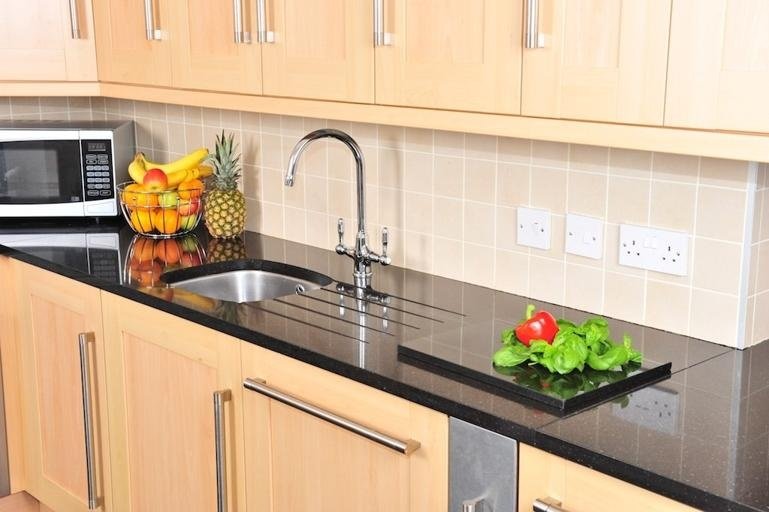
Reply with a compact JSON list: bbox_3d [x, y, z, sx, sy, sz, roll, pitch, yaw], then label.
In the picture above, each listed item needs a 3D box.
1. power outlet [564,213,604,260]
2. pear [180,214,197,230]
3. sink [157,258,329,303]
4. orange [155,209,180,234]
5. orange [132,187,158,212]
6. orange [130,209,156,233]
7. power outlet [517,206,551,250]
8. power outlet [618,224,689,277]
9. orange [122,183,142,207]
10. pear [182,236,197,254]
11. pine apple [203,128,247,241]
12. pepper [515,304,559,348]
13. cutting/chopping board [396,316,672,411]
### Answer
[{"bbox_3d":[0.582,-0.058,1.881,0.112,0.117,0.040,9,16,42],"label":"power outlet"},{"bbox_3d":[-0.802,-0.139,2.678,0.061,0.069,0.062,11,15,43],"label":"pear"},{"bbox_3d":[-0.485,0.088,2.238,0.419,0.200,0.395,8,12,41],"label":"sink"},{"bbox_3d":[-0.865,-0.130,2.649,0.087,0.094,0.090,7,-14,5],"label":"orange"},{"bbox_3d":[-0.954,-0.224,2.582,0.113,0.073,0.034,0,12,12],"label":"orange"},{"bbox_3d":[-0.982,-0.138,2.622,0.100,0.114,0.084,-5,12,-14],"label":"orange"},{"bbox_3d":[0.458,-0.087,1.976,0.112,0.120,0.017,10,16,40],"label":"power outlet"},{"bbox_3d":[0.733,-0.015,1.773,0.179,0.130,0.013,6,14,37],"label":"power outlet"},{"bbox_3d":[-1.002,-0.238,2.646,0.090,0.090,0.091,0,-6,24],"label":"orange"},{"bbox_3d":[-0.775,-0.040,2.579,0.060,0.047,0.078,2,41,-13],"label":"pear"},{"bbox_3d":[-0.638,-0.261,2.625,0.139,0.377,0.143,-2,14,7],"label":"pine apple"},{"bbox_3d":[0.360,0.192,1.603,0.092,0.121,0.095,-3,2,-4],"label":"pepper"},{"bbox_3d":[0.359,0.229,1.613,0.602,0.146,0.405,6,14,36],"label":"cutting/chopping board"}]
